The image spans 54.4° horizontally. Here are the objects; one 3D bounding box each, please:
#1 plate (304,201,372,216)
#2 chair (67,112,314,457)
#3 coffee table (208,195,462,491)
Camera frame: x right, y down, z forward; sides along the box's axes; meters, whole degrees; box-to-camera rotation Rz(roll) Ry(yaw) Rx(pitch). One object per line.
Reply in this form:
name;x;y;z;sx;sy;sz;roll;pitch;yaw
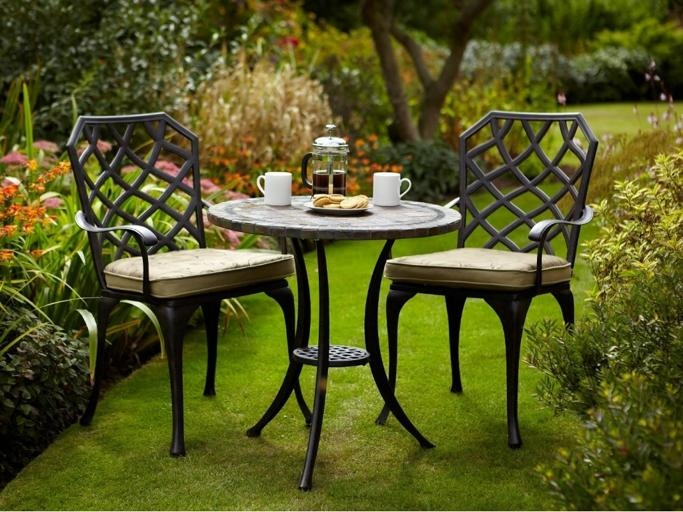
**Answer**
plate;-0.021;-0.215;2.987;0.304;0.049;0.200;0;20;5
chair;-0.789;0.054;3.319;0.908;1.559;0.914;-9;9;-43
coffee table;-0.046;0.342;3.112;1.043;1.117;1.115;2;9;12
